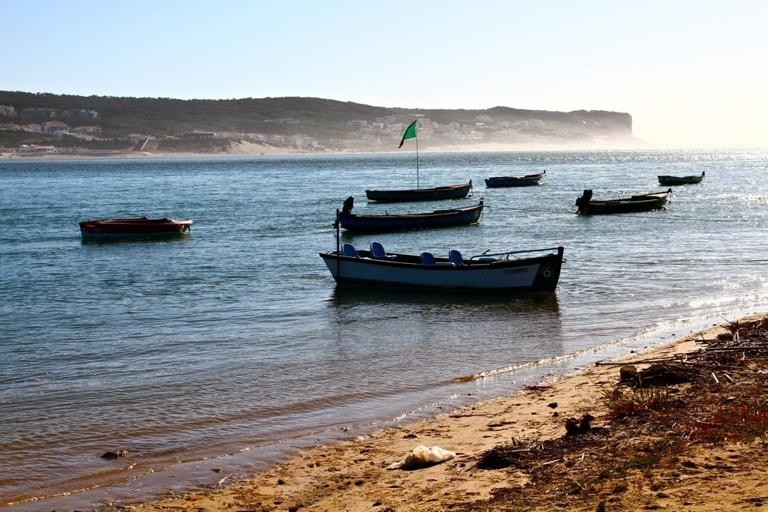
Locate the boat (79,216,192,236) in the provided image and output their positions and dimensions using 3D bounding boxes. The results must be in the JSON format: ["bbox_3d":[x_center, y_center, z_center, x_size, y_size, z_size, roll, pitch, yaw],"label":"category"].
[{"bbox_3d":[-17.024,-1.931,51.360,8.233,0.927,2.016,-1,4,-7],"label":"boat"}]

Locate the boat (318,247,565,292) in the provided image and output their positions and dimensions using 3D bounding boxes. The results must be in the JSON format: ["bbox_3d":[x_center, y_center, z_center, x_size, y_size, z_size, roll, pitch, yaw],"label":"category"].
[{"bbox_3d":[2.758,0.689,35.058,10.999,1.896,3.922,0,4,2],"label":"boat"}]
